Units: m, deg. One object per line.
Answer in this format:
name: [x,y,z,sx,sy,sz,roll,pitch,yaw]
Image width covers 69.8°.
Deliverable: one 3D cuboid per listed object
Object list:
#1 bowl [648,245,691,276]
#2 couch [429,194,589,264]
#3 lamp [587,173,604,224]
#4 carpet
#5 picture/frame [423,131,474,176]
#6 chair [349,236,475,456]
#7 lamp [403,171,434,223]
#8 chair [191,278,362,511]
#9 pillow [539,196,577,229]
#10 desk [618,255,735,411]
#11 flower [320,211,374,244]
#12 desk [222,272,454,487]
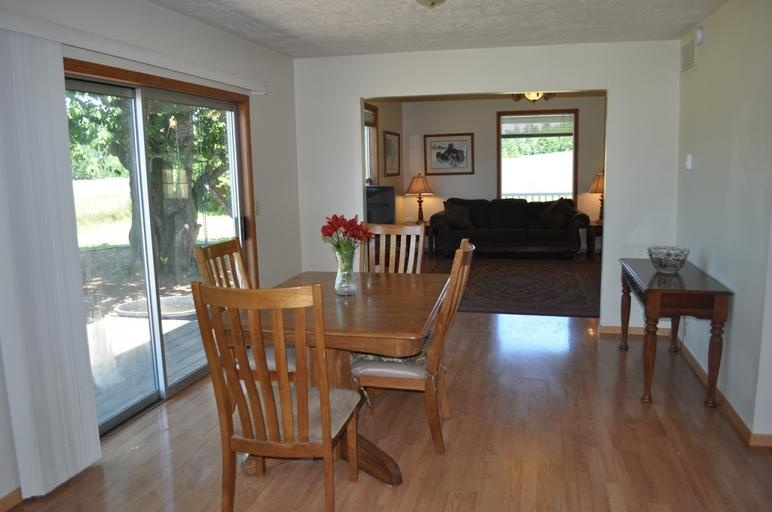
bowl: [2.256,0.031,4.441,0.250,0.163,0.255,-5,3,0]
couch: [2.112,-0.472,9.585,2.520,1.022,0.898,0,6,10]
lamp: [3.660,-1.052,9.652,0.208,0.851,0.750,1,11,17]
carpet: [1.809,0.372,7.323,1.838,0.053,1.998,-3,22,1]
picture/frame: [1.223,-1.944,10.412,0.866,0.696,0.031,0,4,7]
chair: [0.152,0.676,3.875,0.833,1.258,0.742,0,-4,18]
lamp: [0.596,-1.082,10.338,0.528,0.869,0.708,1,10,13]
chair: [-0.543,0.753,3.243,0.733,1.364,0.785,1,11,16]
pillow: [2.899,-0.707,9.290,0.549,0.470,0.545,-2,10,0]
desk: [2.285,0.628,4.642,0.593,0.867,1.267,2,4,10]
flower: [-0.276,-0.180,3.845,0.314,0.200,0.314,-1,1,5]
desk: [-0.303,1.018,3.834,1.183,0.879,1.590,1,-10,13]
